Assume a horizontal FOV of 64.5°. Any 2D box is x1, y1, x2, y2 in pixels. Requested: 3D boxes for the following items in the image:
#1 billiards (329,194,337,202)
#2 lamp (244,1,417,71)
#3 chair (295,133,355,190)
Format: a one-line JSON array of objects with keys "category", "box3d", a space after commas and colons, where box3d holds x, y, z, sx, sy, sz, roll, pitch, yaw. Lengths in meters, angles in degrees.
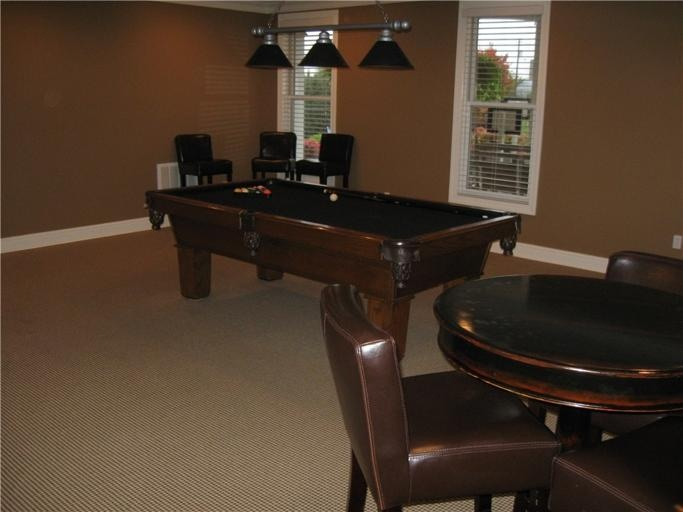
[{"category": "billiards", "box3d": [-0.058, -0.470, 4.248, 0.062, 0.063, 0.037, 7, -29, -18]}, {"category": "lamp", "box3d": [-0.087, -1.635, 4.187, 1.348, 0.345, 0.473, 12, 19, 31]}, {"category": "chair", "box3d": [-0.223, -1.248, 7.155, 0.703, 0.912, 0.668, -2, 17, -28]}]
